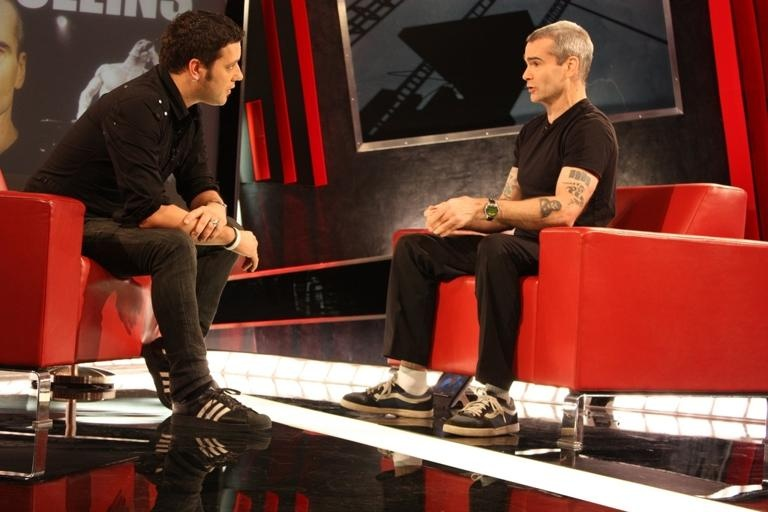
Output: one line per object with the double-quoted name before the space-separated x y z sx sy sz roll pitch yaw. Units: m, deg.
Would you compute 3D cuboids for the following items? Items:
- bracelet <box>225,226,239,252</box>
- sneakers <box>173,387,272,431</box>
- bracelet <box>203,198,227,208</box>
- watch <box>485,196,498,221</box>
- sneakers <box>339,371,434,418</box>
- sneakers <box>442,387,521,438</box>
"bracelet" -0.614 -0.083 2.688 0.031 0.083 0.070 3 -10 -33
"sneakers" -0.602 0.575 2.487 0.376 0.160 0.153 4 -2 -5
"bracelet" -0.714 -0.235 2.857 0.057 0.043 0.058 -3 -5 41
"watch" 0.425 -0.189 2.666 0.052 0.084 0.082 0 1 5
"sneakers" 0.016 0.600 2.844 0.372 0.164 0.164 5 -6 8
"sneakers" 0.377 0.612 2.550 0.312 0.148 0.138 5 -10 -36
